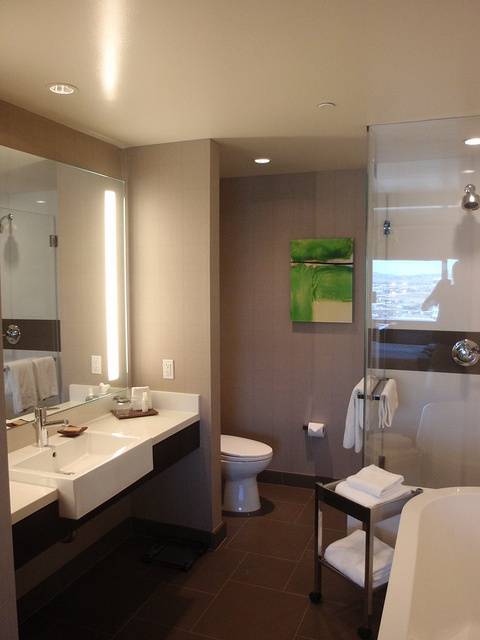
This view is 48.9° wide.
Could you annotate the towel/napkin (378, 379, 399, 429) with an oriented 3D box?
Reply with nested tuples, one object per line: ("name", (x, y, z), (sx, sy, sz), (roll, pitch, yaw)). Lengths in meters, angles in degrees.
("towel/napkin", (0.740, 0.422, 2.598), (0.051, 0.166, 0.253), (-7, 2, 27))

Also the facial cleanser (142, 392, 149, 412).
("facial cleanser", (-0.521, 0.449, 2.911), (0.034, 0.098, 0.051), (-1, 4, -8))

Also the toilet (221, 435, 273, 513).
("toilet", (0.021, 1.014, 3.474), (0.398, 0.464, 0.373), (-2, 3, 15))

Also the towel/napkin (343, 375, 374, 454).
("towel/napkin", (0.716, 0.547, 3.182), (0.059, 0.244, 0.249), (-17, -12, 33))

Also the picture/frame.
("picture/frame", (0.551, -0.270, 3.621), (0.441, 0.620, 0.008), (2, 24, 12))

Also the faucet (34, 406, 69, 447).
("faucet", (-0.827, 0.452, 2.268), (0.136, 0.173, 0.113), (3, 5, 40))

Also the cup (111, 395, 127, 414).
("cup", (-0.647, 0.456, 2.904), (0.098, 0.098, 0.060), (3, 2, 9))

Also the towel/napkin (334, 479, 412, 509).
("towel/napkin", (0.561, 0.733, 2.222), (0.174, 0.048, 0.177), (4, -6, -45))

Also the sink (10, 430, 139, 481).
("sink", (-0.654, 0.627, 2.343), (0.425, 0.092, 0.283), (10, -4, -37))

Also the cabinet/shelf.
("cabinet/shelf", (0.505, 1.000, 2.525), (0.564, 0.798, 0.507), (0, 0, -23))

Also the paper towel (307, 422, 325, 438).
("paper towel", (0.527, 0.754, 3.650), (0.116, 0.076, 0.114), (0, 4, 11))

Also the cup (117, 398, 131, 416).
("cup", (-0.636, 0.471, 2.898), (0.095, 0.101, 0.061), (2, 1, 1))
